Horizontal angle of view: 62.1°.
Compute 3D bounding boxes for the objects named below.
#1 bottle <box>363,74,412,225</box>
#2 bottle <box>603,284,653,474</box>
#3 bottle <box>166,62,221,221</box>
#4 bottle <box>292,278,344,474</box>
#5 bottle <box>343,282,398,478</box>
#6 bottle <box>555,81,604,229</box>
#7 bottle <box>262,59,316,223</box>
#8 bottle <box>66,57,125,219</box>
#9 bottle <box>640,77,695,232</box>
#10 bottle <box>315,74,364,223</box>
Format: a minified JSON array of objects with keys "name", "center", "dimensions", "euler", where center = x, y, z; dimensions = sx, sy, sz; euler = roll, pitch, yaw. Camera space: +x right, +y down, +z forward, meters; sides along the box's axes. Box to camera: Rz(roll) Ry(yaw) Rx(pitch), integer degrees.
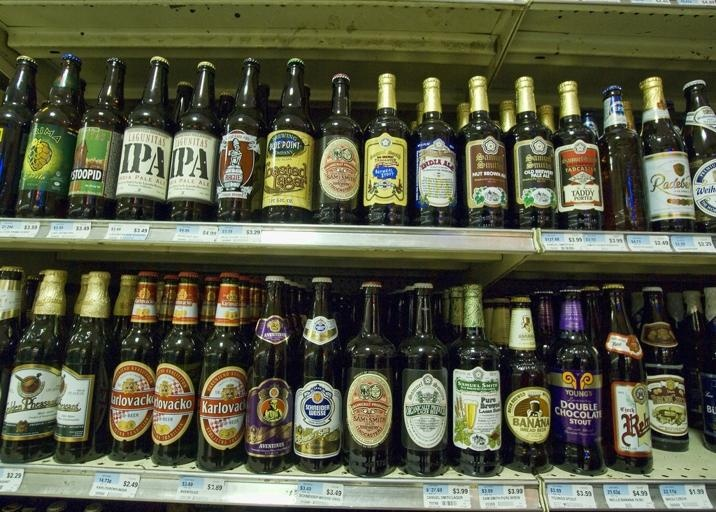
[{"name":"bottle","center":[0.107,-0.440,2.436],"dimensions":[0.195,0.655,0.143],"euler":[-1,-7,13]},{"name":"bottle","center":[1.088,0.482,2.415],"dimensions":[0.193,0.737,0.120],"euler":[-1,-7,11]},{"name":"bottle","center":[-0.676,-0.487,2.458],"dimensions":[0.195,0.699,0.123],"euler":[3,-7,-18]},{"name":"bottle","center":[-0.153,0.457,2.345],"dimensions":[0.192,0.750,0.076],"euler":[1,-7,-7]},{"name":"bottle","center":[0.046,0.471,2.323],"dimensions":[0.191,0.741,0.065],"euler":[1,-7,-1]},{"name":"bottle","center":[0.897,-0.426,2.449],"dimensions":[0.166,0.648,0.117],"euler":[-3,-8,28]},{"name":"bottle","center":[-0.282,-0.487,2.458],"dimensions":[0.206,0.717,0.149],"euler":[4,-7,-24]},{"name":"bottle","center":[-1.069,-0.492,2.452],"dimensions":[0.193,0.702,0.137],"euler":[5,-8,-32]},{"name":"bottle","center":[1.289,-0.432,2.492],"dimensions":[0.187,0.680,0.179],"euler":[1,-7,0]},{"name":"bottle","center":[-0.081,-0.444,2.453],"dimensions":[0.182,0.652,0.160],"euler":[0,-7,10]}]
